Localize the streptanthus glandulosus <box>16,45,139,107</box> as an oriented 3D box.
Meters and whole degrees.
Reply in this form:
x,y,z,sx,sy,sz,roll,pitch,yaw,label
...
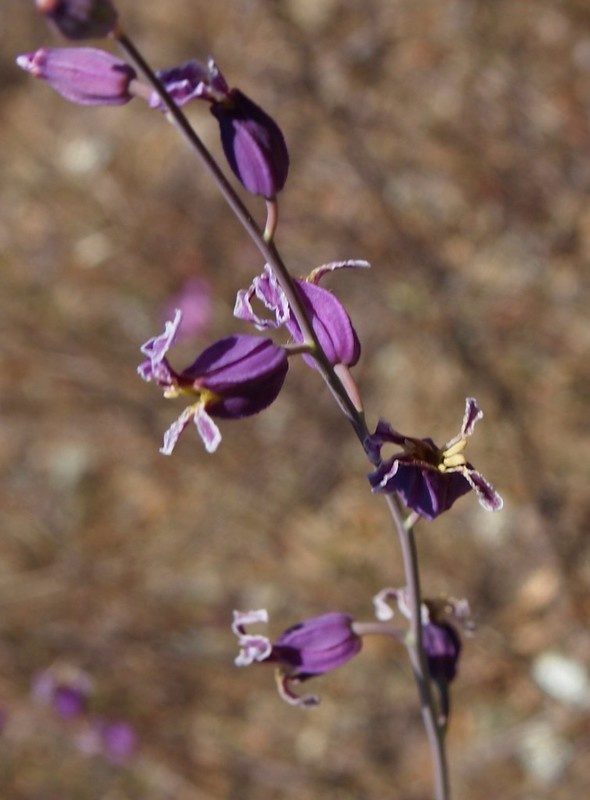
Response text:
x,y,z,sx,sy,sz,roll,pitch,yaw,label
-0.138,-0.210,0.555,0.078,0.033,0.025,14,23,2,streptanthus glandulosus

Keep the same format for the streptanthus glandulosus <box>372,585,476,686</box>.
x,y,z,sx,sy,sz,roll,pitch,yaw,label
0.102,0.194,0.731,0.106,0.033,0.088,7,74,-35,streptanthus glandulosus

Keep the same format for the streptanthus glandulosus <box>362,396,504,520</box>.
x,y,z,sx,sy,sz,roll,pitch,yaw,label
0.094,0.046,0.598,0.090,0.065,0.073,-8,71,-8,streptanthus glandulosus

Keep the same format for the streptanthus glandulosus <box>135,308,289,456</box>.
x,y,z,sx,sy,sz,roll,pitch,yaw,label
-0.047,-0.011,0.578,0.127,0.078,0.079,-2,93,-4,streptanthus glandulosus

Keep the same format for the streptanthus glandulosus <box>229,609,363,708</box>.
x,y,z,sx,sy,sz,roll,pitch,yaw,label
0.002,0.192,0.660,0.079,0.047,0.077,32,69,7,streptanthus glandulosus
